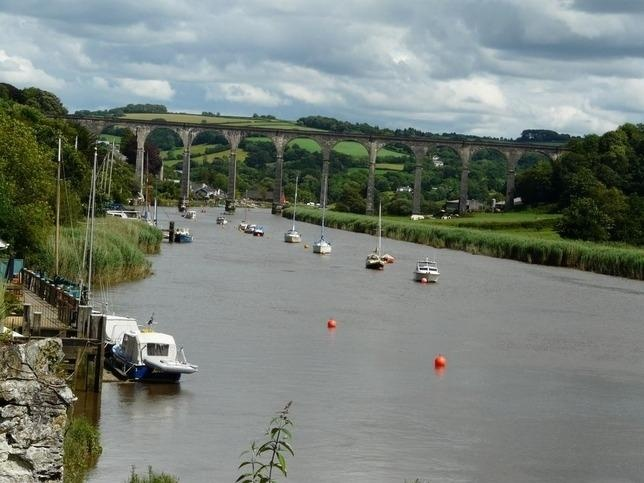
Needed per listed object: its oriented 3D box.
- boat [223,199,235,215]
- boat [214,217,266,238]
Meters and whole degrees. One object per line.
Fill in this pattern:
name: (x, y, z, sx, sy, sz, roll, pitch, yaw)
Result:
boat: (-14.997, -5.555, 176.531, 1.977, 2.458, 2.209, 2, 8, 8)
boat: (-10.486, -1.617, 137.658, 1.685, 1.480, 7.656, 0, 11, -25)
